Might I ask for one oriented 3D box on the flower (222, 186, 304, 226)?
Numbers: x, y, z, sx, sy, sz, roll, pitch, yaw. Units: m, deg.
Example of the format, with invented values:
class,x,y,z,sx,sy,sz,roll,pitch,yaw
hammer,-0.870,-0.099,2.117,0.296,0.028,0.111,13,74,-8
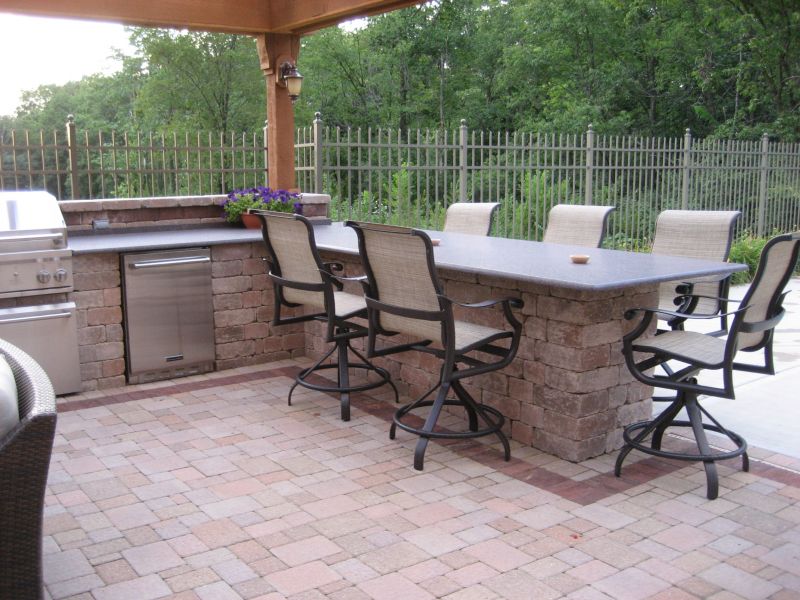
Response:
class,x,y,z,sx,sy,sz,roll,pitch,yaw
flower,-1.269,-0.897,5.880,0.644,0.271,0.558,0,11,3
